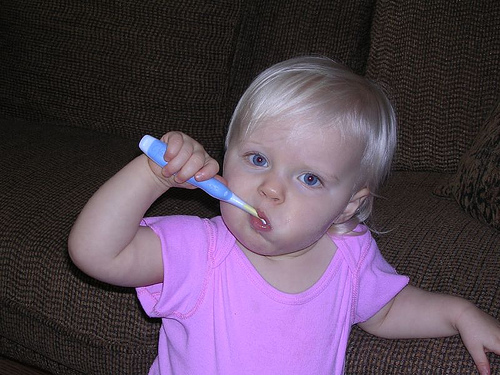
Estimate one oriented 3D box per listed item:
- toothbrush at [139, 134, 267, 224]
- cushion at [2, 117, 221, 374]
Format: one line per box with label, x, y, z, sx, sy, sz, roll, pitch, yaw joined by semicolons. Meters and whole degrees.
toothbrush;-0.090;-0.010;0.831;0.315;0.037;0.051;34;46;-4
cushion;-0.308;0.147;0.931;0.374;0.359;0.519;9;36;9
